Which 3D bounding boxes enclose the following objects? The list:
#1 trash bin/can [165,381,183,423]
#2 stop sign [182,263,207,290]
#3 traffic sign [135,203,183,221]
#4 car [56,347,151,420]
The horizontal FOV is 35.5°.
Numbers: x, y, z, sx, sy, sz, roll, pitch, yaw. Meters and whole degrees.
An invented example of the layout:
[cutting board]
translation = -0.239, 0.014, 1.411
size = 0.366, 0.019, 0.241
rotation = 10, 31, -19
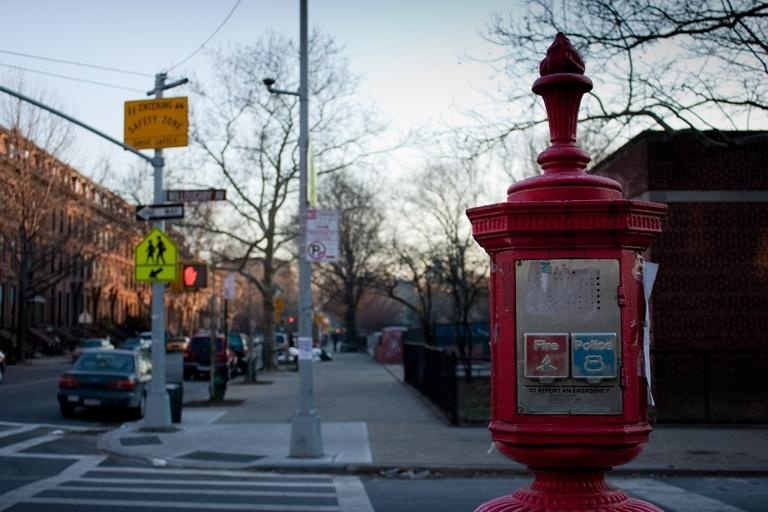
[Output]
[trash bin/can]
translation = -5.714, 4.133, 33.799
size = 0.734, 1.140, 0.722
rotation = -1, -8, 7
[stop sign]
translation = -5.470, 0.583, 34.881
size = 0.766, 0.781, 0.108
rotation = -1, -1, -5
[traffic sign]
translation = -6.128, -1.241, 33.035
size = 1.577, 0.514, 0.396
rotation = -5, -8, 22
[car]
translation = -8.005, 3.737, 35.810
size = 1.733, 1.237, 2.902
rotation = 1, 2, -1
